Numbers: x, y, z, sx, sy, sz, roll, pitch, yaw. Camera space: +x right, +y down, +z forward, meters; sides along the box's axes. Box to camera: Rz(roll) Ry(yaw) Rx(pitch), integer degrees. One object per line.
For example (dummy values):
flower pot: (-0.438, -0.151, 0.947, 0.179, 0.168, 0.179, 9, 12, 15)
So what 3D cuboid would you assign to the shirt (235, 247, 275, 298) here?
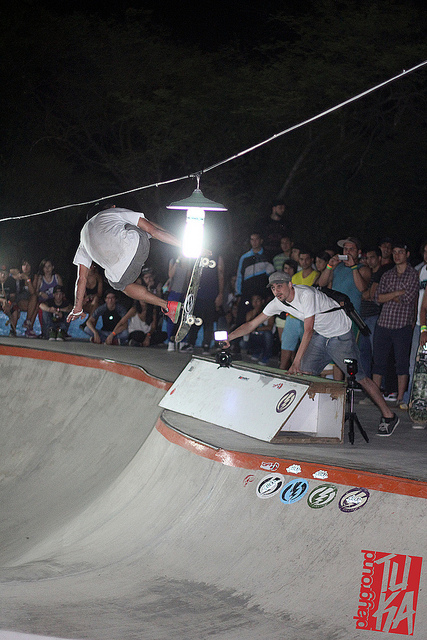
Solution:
shirt: (0.698, -0.833, 8.855, 0.759, 0.842, 0.444, -5, -8, 21)

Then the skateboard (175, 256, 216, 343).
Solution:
skateboard: (-0.201, -0.203, 4.801, 0.158, 1.026, 0.252, 22, 12, 30)

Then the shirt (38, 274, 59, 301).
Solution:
shirt: (-3.315, -0.665, 10.339, 0.338, 0.512, 0.556, -3, -12, -13)

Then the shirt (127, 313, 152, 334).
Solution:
shirt: (-1.412, 0.060, 9.835, 0.516, 0.546, 0.320, 5, 16, 2)

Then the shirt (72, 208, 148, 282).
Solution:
shirt: (-0.955, -0.712, 4.772, 0.644, 0.690, 0.224, -7, -9, 31)

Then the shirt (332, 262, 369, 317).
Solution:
shirt: (1.670, -0.454, 6.435, 0.395, 0.329, 1.165, 9, -34, 11)

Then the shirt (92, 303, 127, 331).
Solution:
shirt: (-1.967, -0.063, 9.750, 0.578, 0.412, 0.171, 1, 3, -1)

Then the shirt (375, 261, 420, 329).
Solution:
shirt: (2.134, -0.273, 5.956, 0.550, 0.748, 0.263, -7, -9, 31)

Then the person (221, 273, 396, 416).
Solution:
person: (0.829, 0.070, 4.731, 0.951, 0.864, 0.543, 2, -9, -29)

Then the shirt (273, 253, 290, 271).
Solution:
shirt: (1.144, -1.004, 8.766, 0.191, 0.322, 0.383, 1, -8, -20)

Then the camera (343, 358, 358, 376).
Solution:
camera: (1.140, 0.388, 4.238, 0.146, 0.171, 0.098, 1, -3, 27)

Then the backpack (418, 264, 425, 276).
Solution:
backpack: (2.357, -0.580, 5.830, 0.072, 0.143, 0.236, -5, -9, 23)
